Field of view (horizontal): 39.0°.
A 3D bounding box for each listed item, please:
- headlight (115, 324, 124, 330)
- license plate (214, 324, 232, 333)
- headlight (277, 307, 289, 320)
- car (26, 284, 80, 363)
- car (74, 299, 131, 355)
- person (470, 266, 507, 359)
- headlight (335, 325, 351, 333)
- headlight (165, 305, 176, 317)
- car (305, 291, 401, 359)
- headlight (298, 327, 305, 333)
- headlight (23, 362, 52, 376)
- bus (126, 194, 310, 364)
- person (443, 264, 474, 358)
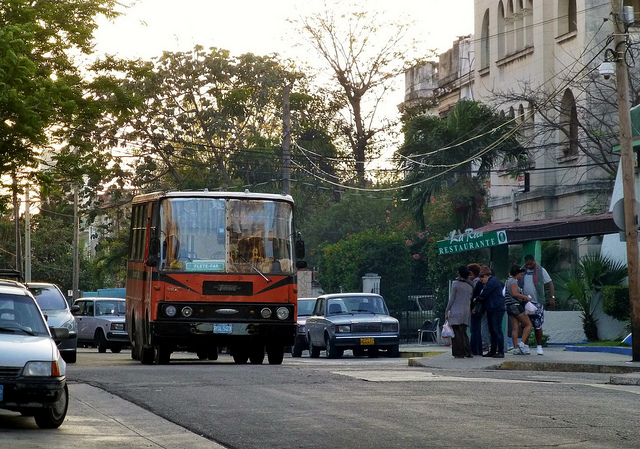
[{"bbox_3d":[-7.270,3.649,32.290,0.191,0.194,0.048,2,-5,-4],"label":"headlight"},{"bbox_3d":[-2.303,2.433,21.205,0.414,0.195,0.085,0,-7,-8],"label":"license plate"},{"bbox_3d":[-0.926,2.109,21.599,0.257,0.285,0.103,2,0,-12],"label":"headlight"},{"bbox_3d":[-7.959,2.562,25.351,1.979,1.920,4.251,2,0,-23],"label":"car"},{"bbox_3d":[-8.319,3.800,34.248,1.890,2.079,4.203,9,-9,-41],"label":"car"},{"bbox_3d":[4.369,2.217,22.785,0.840,2.312,0.879,-7,-9,38],"label":"person"},{"bbox_3d":[0.705,3.172,27.442,0.445,0.208,0.102,2,-8,-21],"label":"headlight"},{"bbox_3d":[-3.530,1.997,21.043,0.221,0.239,0.230,3,5,-10],"label":"headlight"},{"bbox_3d":[1.046,3.167,28.765,2.233,2.165,2.568,1,-8,-16],"label":"car"},{"bbox_3d":[-0.664,3.682,31.541,0.268,0.198,0.156,0,-7,-6],"label":"headlight"},{"bbox_3d":[-3.912,1.984,12.401,0.215,0.159,0.235,2,-3,-1],"label":"headlight"},{"bbox_3d":[-3.398,1.416,24.835,3.306,4.182,7.588,2,-3,-19],"label":"bus"},{"bbox_3d":[3.618,2.214,23.165,0.732,2.349,0.742,-2,-7,9],"label":"person"}]
